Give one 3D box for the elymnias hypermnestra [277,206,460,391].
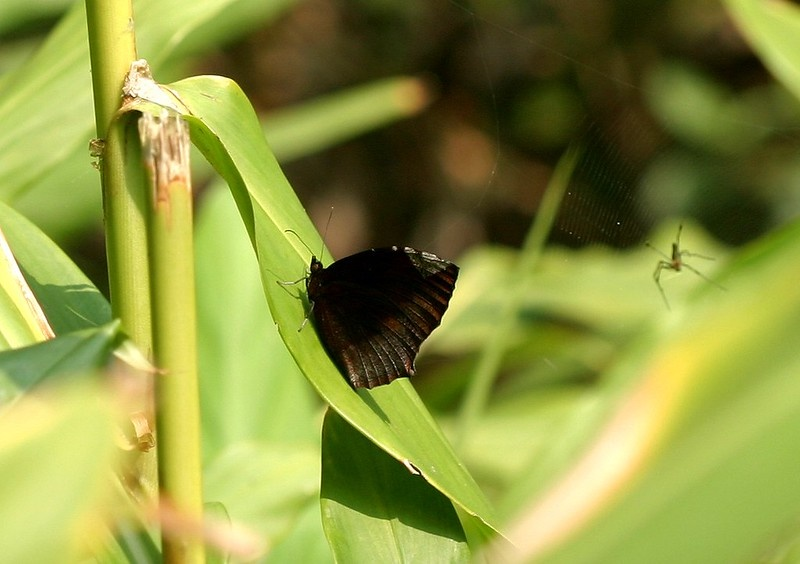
[{"bbox_3d":[-0.082,0.029,1.330,0.269,0.192,0.336,40,17,27],"label":"elymnias hypermnestra"}]
